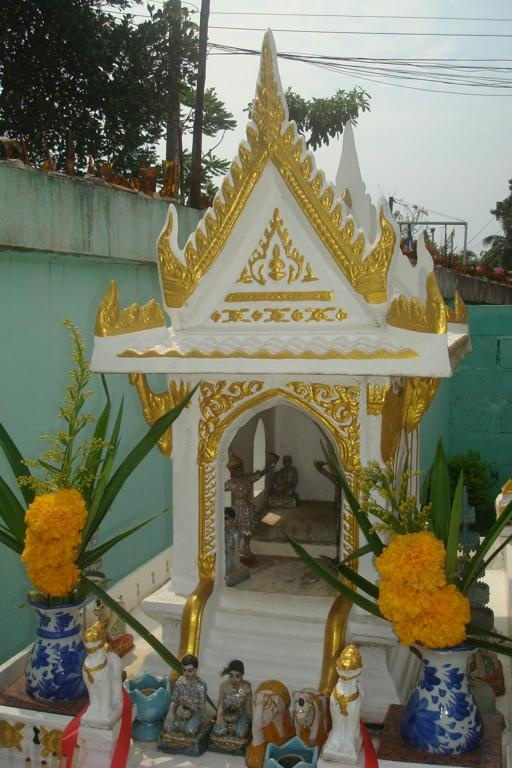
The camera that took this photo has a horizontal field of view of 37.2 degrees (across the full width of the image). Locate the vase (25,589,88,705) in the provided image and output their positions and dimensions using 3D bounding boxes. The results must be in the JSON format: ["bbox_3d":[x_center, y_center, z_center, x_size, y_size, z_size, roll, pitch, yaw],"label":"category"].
[{"bbox_3d":[-1.072,1.423,4.076,0.307,0.520,0.288,-1,9,-16],"label":"vase"}]

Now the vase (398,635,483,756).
[{"bbox_3d":[0.856,1.420,3.551,0.418,0.477,0.418,3,-2,40],"label":"vase"}]
